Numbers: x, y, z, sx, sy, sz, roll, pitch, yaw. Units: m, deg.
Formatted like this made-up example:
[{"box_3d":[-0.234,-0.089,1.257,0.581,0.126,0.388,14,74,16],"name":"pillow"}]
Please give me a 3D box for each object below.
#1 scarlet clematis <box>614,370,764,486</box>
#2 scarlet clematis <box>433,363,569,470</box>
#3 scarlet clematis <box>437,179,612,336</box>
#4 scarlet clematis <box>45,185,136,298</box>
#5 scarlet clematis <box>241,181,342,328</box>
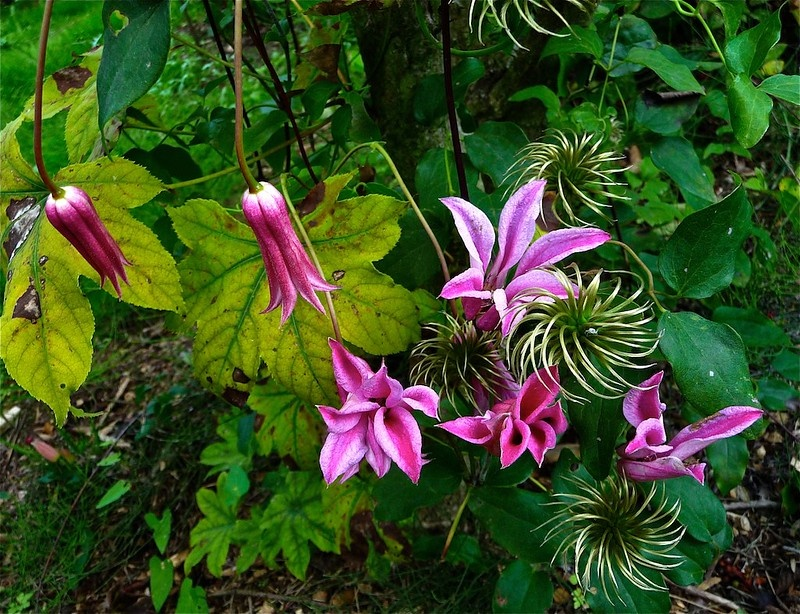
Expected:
[{"box_3d":[0.632,0.306,1.734,0.249,0.193,0.308,14,39,-1],"name":"scarlet clematis"},{"box_3d":[0.221,0.238,1.642,0.216,0.134,0.241,-18,19,41],"name":"scarlet clematis"},{"box_3d":[0.252,-0.107,1.701,0.333,0.185,0.365,0,59,0],"name":"scarlet clematis"},{"box_3d":[-0.705,-0.151,1.744,0.101,0.260,0.081,8,41,30],"name":"scarlet clematis"},{"box_3d":[-0.253,-0.127,1.658,0.168,0.266,0.163,-19,25,6],"name":"scarlet clematis"}]
